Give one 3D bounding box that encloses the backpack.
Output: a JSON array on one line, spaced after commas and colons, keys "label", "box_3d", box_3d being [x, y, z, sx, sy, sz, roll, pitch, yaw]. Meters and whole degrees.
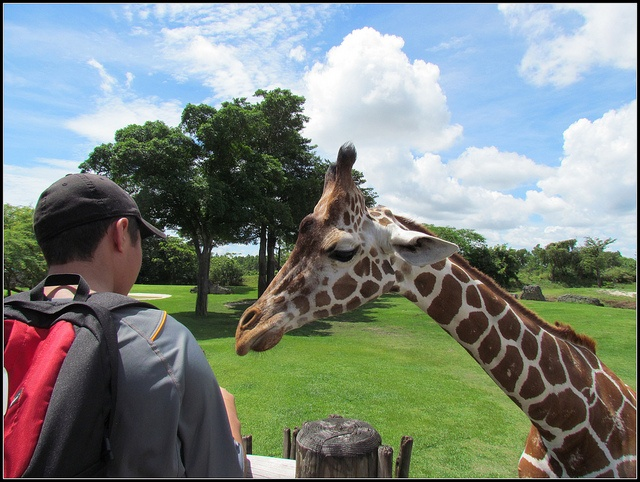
[{"label": "backpack", "box_3d": [-1.480, 0.734, 2.311, 0.720, 1.076, 0.406, 0, -5, 40]}]
